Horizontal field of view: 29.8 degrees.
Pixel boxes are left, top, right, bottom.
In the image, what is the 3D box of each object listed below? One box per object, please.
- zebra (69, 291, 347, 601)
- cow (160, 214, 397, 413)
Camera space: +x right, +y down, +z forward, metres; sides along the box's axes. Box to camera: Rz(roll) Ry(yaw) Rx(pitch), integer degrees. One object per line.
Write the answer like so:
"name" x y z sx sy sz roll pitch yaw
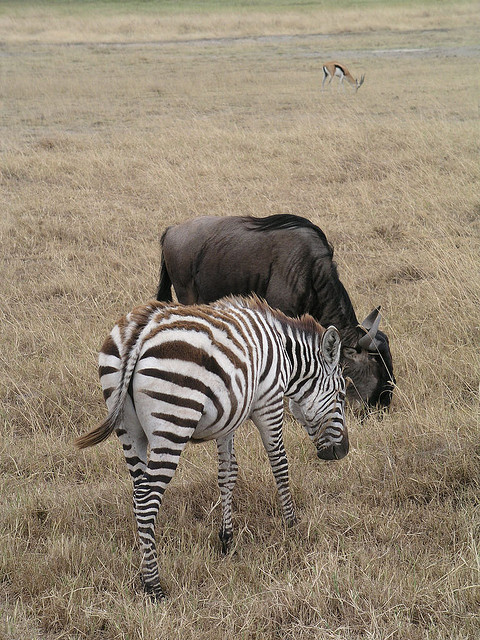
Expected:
"zebra" -0.047 0.684 5.607 1.984 1.746 0.545 -1 3 -43
"cow" 0.249 -0.074 7.573 2.211 1.714 0.634 16 22 19
